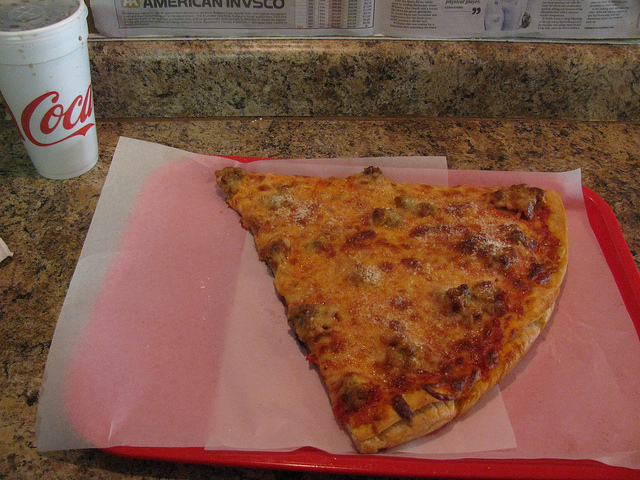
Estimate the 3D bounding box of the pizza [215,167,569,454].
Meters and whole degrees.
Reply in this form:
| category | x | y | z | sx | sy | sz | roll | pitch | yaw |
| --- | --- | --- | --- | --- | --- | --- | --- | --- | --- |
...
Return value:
| category | x | y | z | sx | sy | sz | roll | pitch | yaw |
| --- | --- | --- | --- | --- | --- | --- | --- | --- | --- |
| pizza | 0.099 | 0.051 | 1.178 | 0.798 | 0.108 | 0.737 | 14 | 49 | 19 |
